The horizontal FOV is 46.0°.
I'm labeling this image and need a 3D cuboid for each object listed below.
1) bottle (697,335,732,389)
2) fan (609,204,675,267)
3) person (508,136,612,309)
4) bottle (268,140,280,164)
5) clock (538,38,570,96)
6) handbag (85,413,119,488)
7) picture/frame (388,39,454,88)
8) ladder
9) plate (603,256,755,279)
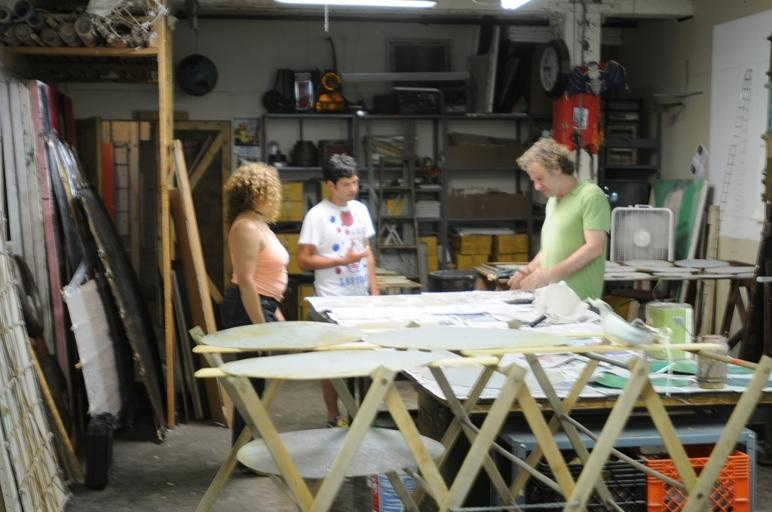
[{"bbox_3d":[1.945,0.636,5.420,0.214,0.294,0.206,-2,-2,0],"label":"bottle"},{"bbox_3d":[2.545,-0.181,9.114,0.695,0.639,0.320,0,0,5],"label":"fan"},{"bbox_3d":[1.274,-0.268,6.734,0.705,1.189,0.784,-1,9,15],"label":"person"},{"bbox_3d":[-1.327,-1.215,10.773,0.155,0.266,0.288,-4,8,-7],"label":"bottle"},{"bbox_3d":[1.820,-1.991,9.682,0.227,0.595,0.535,-4,8,-7],"label":"clock"},{"bbox_3d":[-2.117,1.471,6.778,0.202,0.457,0.508,1,0,-10],"label":"handbag"},{"bbox_3d":[0.381,-2.323,11.034,0.757,0.403,0.049,0,-5,-3],"label":"picture/frame"},{"bbox_3d":[0.162,-0.323,11.047,0.597,1.520,0.515,-5,1,-9],"label":"ladder"},{"bbox_3d":[2.681,0.169,8.380,1.309,0.180,0.577,-1,8,12],"label":"plate"}]
